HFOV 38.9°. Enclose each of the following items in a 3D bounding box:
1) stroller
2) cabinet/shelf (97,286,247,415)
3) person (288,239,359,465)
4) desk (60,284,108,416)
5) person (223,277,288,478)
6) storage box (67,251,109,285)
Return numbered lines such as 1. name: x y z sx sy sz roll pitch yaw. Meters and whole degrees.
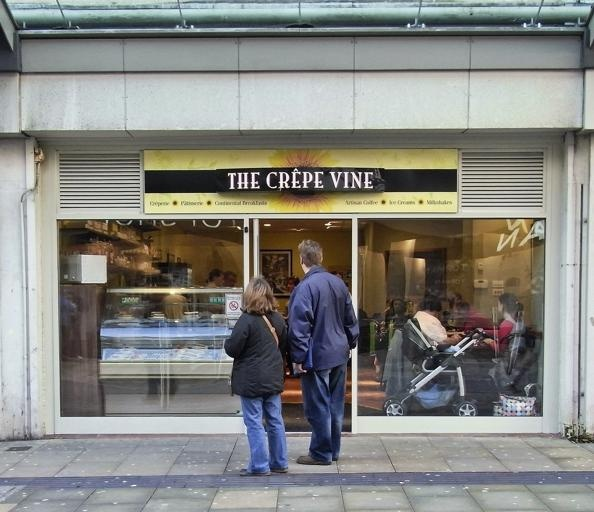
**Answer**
1. stroller: 1.614 1.191 9.403 1.496 1.271 0.849 -1 -6 2
2. cabinet/shelf: -1.428 1.090 9.712 1.832 1.308 0.543 0 -4 1
3. person: 0.222 1.019 8.620 0.553 2.302 0.683 4 11 25
4. desk: -2.528 1.094 9.817 0.546 1.483 0.369 -2 10 -10
5. person: -0.400 1.211 8.379 0.645 1.941 0.422 -3 10 -13
6. storage box: -2.487 0.146 9.852 0.628 0.378 0.348 1 -7 -14
